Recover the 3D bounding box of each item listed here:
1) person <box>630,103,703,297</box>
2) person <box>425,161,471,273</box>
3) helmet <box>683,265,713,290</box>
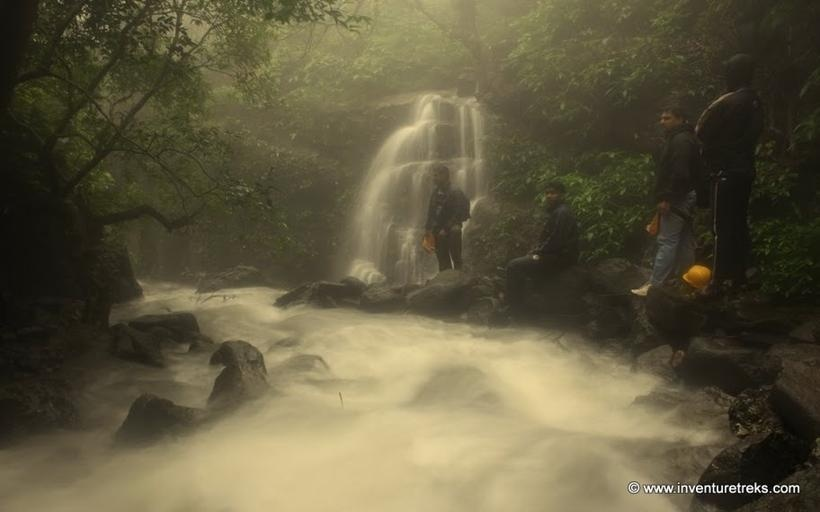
[{"bbox_3d":[5.277,-1.103,14.646,0.924,3.727,0.703,-1,4,-6],"label":"person"},{"bbox_3d":[0.926,-0.948,18.663,0.807,2.672,0.921,-3,5,-34],"label":"person"},{"bbox_3d":[5.509,0.420,14.231,0.493,0.459,0.337,-38,13,-33],"label":"helmet"}]
